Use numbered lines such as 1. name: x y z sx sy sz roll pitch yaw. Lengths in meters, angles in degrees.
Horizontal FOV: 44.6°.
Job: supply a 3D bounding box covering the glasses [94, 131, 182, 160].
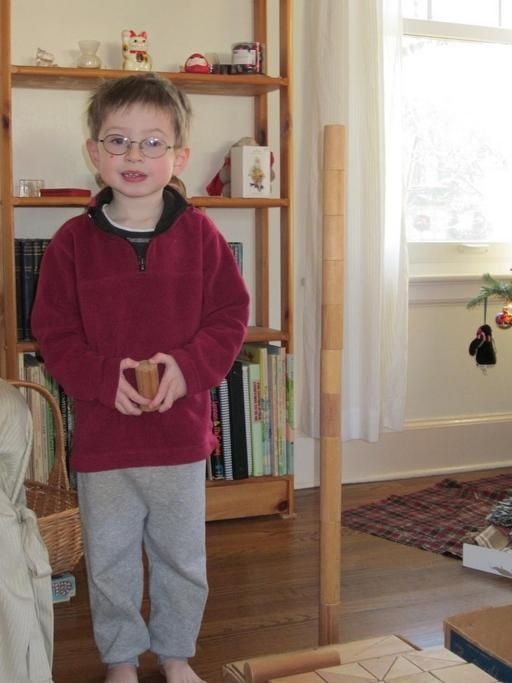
1. glasses: -0.192 -0.309 0.997 0.110 0.040 0.041 -1 5 -9
